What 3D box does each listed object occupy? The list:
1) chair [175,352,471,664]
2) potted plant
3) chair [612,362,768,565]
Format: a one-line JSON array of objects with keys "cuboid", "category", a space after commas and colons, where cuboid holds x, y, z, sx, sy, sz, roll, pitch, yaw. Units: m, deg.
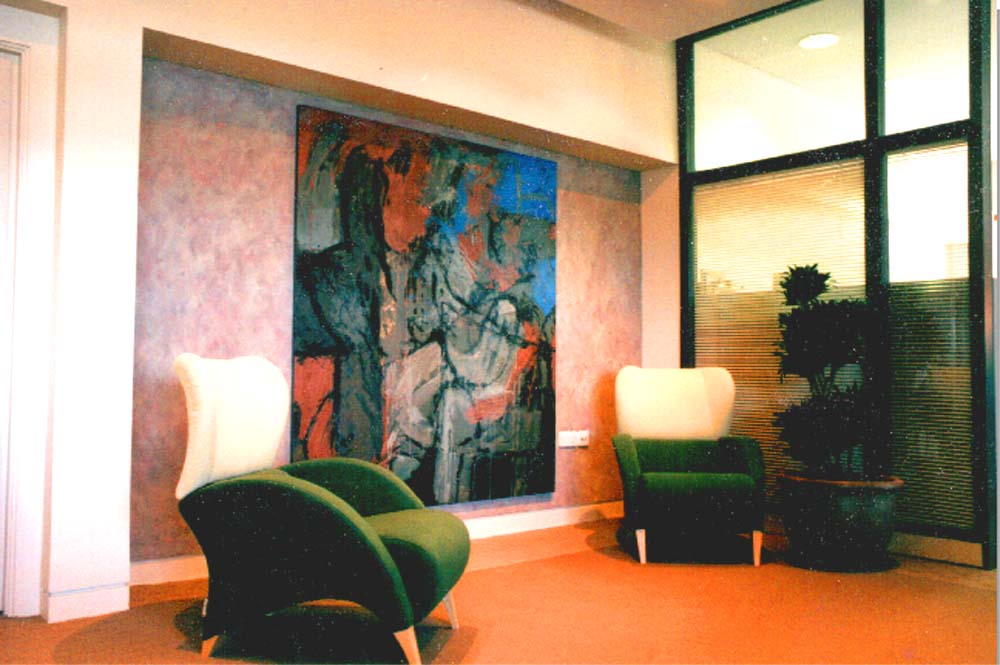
[{"cuboid": [-0.930, 0.821, 3.775, 1.348, 1.390, 0.626, 3, 8, 15], "category": "chair"}, {"cuboid": [2.184, 0.518, 5.029, 0.809, 1.876, 0.813, 8, 10, 42], "category": "potted plant"}, {"cuboid": [1.390, 0.939, 5.450, 1.111, 1.360, 1.247, 1, -20, 2], "category": "chair"}]
